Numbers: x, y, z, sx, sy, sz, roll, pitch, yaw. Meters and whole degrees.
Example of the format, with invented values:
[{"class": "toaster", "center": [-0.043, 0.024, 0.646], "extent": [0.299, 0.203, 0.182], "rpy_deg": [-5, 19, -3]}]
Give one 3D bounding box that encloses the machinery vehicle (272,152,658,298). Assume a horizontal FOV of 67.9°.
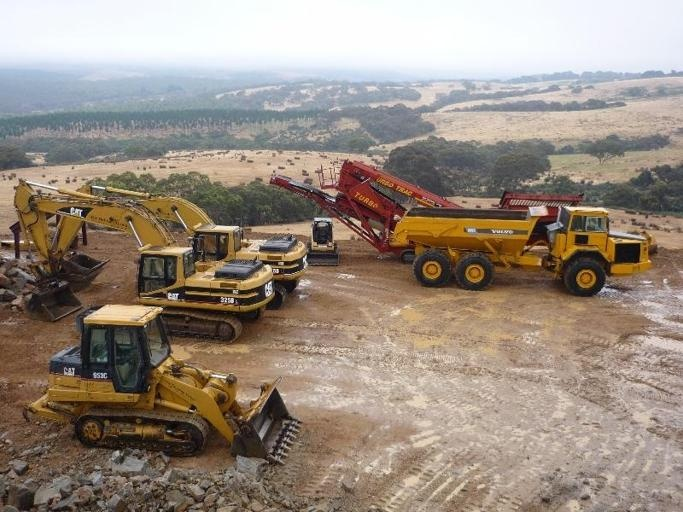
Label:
[{"class": "machinery vehicle", "center": [5.127, -1.388, 19.232], "extent": [11.379, 4.523, 4.910], "rpy_deg": [2, 14, 11]}]
